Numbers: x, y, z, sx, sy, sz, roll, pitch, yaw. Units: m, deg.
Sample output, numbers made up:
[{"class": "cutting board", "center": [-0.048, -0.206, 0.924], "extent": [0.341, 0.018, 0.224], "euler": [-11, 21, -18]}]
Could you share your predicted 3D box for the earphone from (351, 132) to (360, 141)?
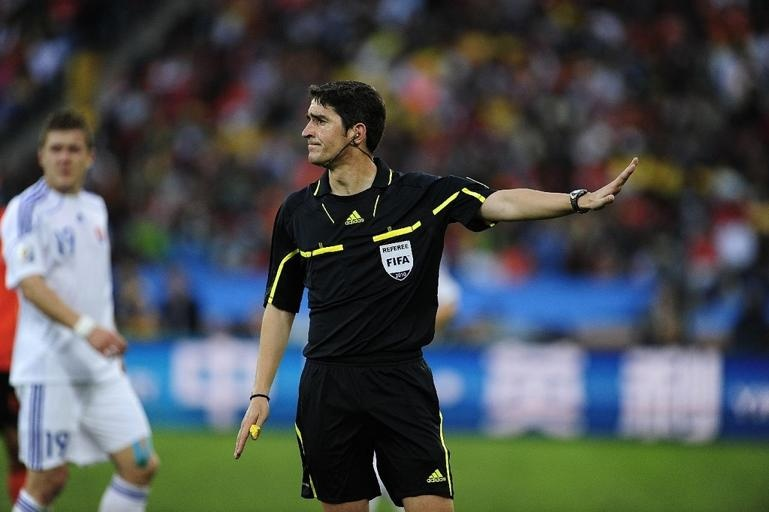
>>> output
[{"class": "earphone", "center": [-0.207, -0.809, 7.137], "extent": [0.042, 0.061, 0.019], "euler": [0, -1, -2]}]

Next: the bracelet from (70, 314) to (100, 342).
[{"class": "bracelet", "center": [-2.091, 0.521, 7.344], "extent": [0.116, 0.157, 0.155], "euler": [35, -32, -13]}]
